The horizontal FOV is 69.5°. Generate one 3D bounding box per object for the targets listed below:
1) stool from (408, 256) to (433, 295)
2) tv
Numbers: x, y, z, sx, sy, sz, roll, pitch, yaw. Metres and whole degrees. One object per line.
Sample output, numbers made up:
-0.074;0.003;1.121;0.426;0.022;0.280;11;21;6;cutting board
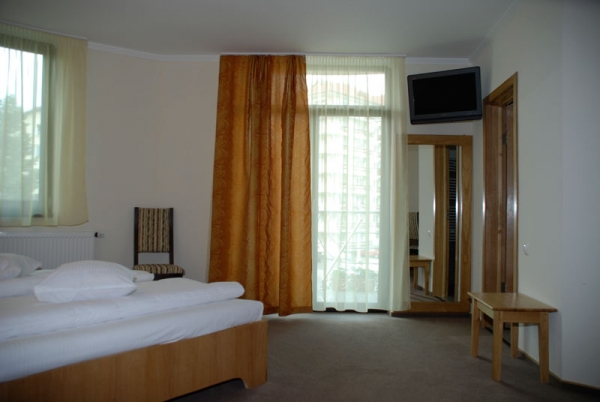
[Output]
1.460;0.913;5.343;0.376;0.427;0.395;0;0;10;stool
1.694;-1.244;5.057;0.793;0.560;0.119;3;6;25;tv
